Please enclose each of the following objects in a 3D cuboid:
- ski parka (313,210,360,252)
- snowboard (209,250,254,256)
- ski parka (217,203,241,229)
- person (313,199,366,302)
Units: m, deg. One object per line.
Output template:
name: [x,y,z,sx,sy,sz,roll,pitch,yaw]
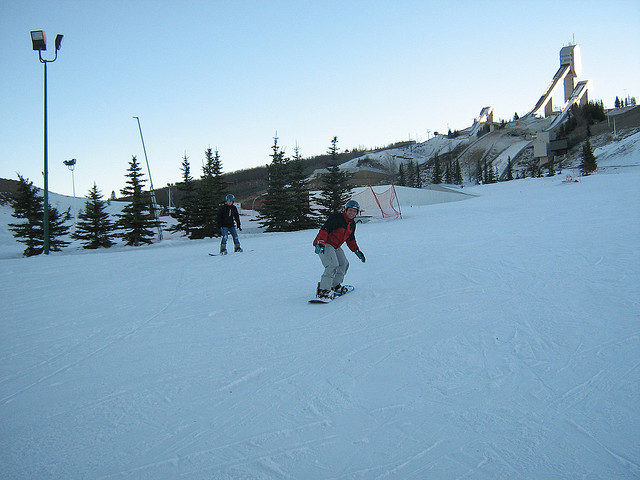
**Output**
ski parka: [0.309,-0.128,8.001,0.307,0.752,0.921,5,11,41]
snowboard: [-2.550,0.385,13.501,1.343,0.049,0.456,-7,10,-32]
ski parka: [-2.753,-0.733,13.785,0.642,0.696,0.415,-6,9,-22]
person: [0.332,0.157,7.998,0.610,1.672,1.018,4,11,38]
